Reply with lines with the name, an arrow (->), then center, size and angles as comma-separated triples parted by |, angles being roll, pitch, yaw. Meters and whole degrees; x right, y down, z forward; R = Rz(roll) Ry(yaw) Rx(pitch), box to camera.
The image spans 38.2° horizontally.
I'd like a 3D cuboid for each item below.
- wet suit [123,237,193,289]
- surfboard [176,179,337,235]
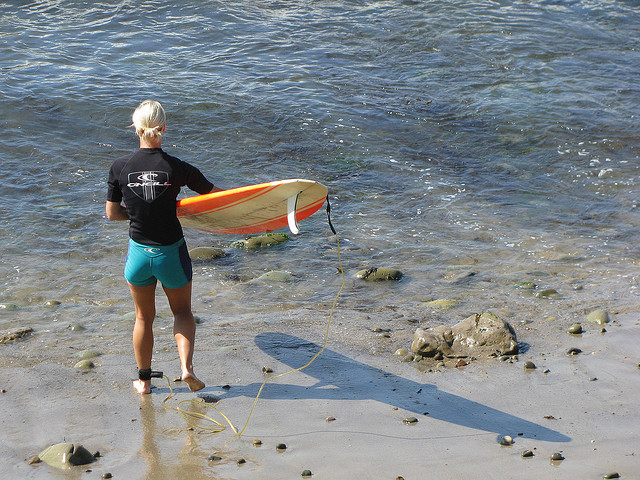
wet suit -> -2.203, 0.321, 12.723 | 1.424, 0.582, 0.507 | 1, 35, -4
surfboard -> -1.327, -0.527, 14.021 | 3.081, 0.711, 0.539 | -4, 48, -9
